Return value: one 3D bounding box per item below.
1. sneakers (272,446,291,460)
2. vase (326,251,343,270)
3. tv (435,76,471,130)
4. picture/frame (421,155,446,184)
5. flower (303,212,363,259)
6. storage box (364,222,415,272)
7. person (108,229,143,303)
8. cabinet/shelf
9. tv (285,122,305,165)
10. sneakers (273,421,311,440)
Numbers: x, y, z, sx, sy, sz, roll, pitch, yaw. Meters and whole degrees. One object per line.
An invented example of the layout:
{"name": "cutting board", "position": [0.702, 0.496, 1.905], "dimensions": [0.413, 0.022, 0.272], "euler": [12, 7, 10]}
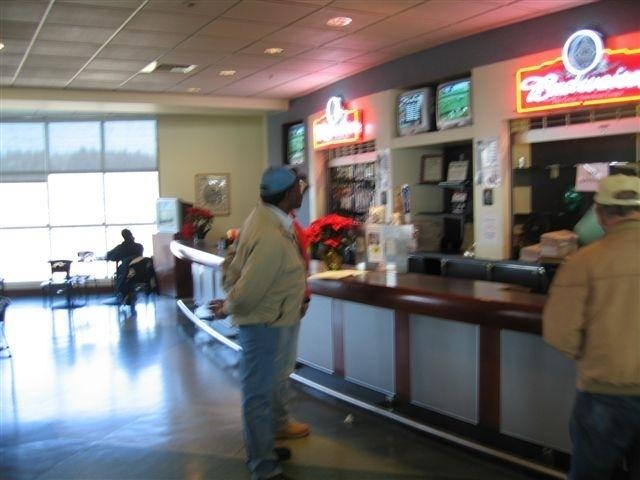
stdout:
{"name": "sneakers", "position": [-0.282, 1.662, 3.854], "dimensions": [0.103, 0.045, 0.139], "euler": [1, -1, -12]}
{"name": "vase", "position": [0.136, 0.203, 4.898], "dimensions": [0.152, 0.195, 0.122], "euler": [7, 14, 35]}
{"name": "tv", "position": [1.808, -1.811, 6.652], "dimensions": [0.123, 0.628, 0.535], "euler": [-7, 8, -33]}
{"name": "picture/frame", "position": [1.753, -1.065, 7.572], "dimensions": [0.103, 0.557, 0.441], "euler": [6, -13, -38]}
{"name": "flower", "position": [0.149, -0.059, 4.826], "dimensions": [0.463, 0.380, 0.465], "euler": [6, 13, 34]}
{"name": "storage box", "position": [0.673, 0.062, 4.824], "dimensions": [0.234, 0.399, 0.419], "euler": [-13, 16, -38]}
{"name": "person", "position": [-3.681, 0.509, 9.431], "dimensions": [0.605, 1.376, 0.662], "euler": [2, 8, 33]}
{"name": "cabinet/shelf", "position": [1.838, -0.624, 7.413], "dimensions": [0.790, 1.601, 1.027], "euler": [-4, 7, -11]}
{"name": "tv", "position": [-0.496, -1.907, 9.869], "dimensions": [0.250, 0.854, 0.961], "euler": [-4, 7, -16]}
{"name": "sneakers", "position": [-0.228, 1.577, 4.095], "dimensions": [0.288, 0.118, 0.117], "euler": [-2, 2, -11]}
